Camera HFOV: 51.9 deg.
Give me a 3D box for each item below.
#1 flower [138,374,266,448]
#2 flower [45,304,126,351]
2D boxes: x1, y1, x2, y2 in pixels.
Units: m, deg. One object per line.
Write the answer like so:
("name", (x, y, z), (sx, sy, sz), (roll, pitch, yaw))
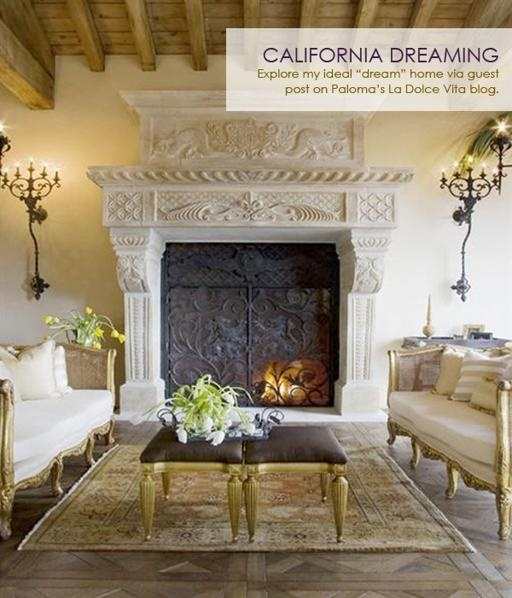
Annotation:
("flower", (-0.440, 0.845, 4.027), (1.069, 0.372, 0.945), (1, -1, -5))
("flower", (-1.794, 0.306, 5.450), (0.759, 0.298, 0.758), (10, -6, -13))
